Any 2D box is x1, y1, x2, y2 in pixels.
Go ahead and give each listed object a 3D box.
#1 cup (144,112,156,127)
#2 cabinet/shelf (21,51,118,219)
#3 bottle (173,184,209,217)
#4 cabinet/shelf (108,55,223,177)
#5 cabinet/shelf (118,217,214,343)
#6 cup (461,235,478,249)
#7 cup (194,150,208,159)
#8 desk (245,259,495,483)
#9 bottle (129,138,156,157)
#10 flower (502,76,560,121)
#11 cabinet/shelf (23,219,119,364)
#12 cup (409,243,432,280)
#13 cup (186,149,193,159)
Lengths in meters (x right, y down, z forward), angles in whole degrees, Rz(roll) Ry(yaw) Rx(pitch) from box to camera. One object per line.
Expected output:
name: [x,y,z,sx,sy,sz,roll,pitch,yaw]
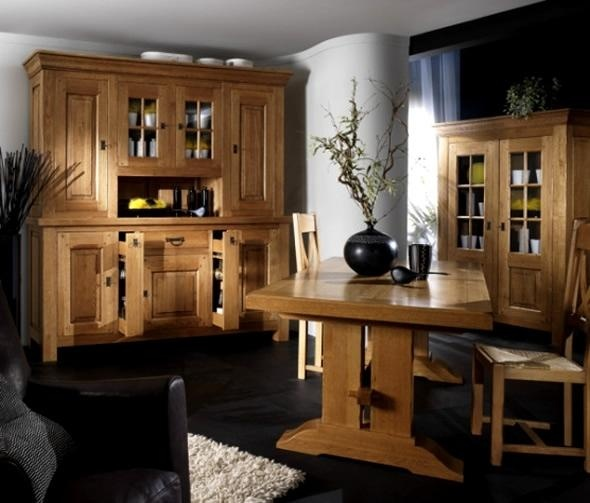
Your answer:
cup: [-1.211,-1.096,4.311,0.109,0.115,0.108,1,9,0]
cabinet/shelf: [-1.729,-0.861,4.224,0.584,1.302,0.382,0,1,-19]
bottle: [-0.966,-0.457,4.760,0.311,0.284,0.166,2,8,6]
cabinet/shelf: [-1.070,-1.175,4.469,0.935,0.999,0.402,2,41,-13]
cabinet/shelf: [-1.112,0.211,4.320,1.062,1.201,0.637,-1,3,-25]
cup: [1.804,-0.098,5.380,0.133,0.098,0.121,-1,1,0]
cup: [-0.816,-0.842,4.483,0.096,0.070,0.084,0,4,9]
desk: [0.539,0.541,3.072,1.109,0.833,1.757,3,8,16]
bottle: [-1.276,-0.861,4.319,0.226,0.161,0.068,-2,6,-19]
flower: [2.283,-1.491,4.954,0.437,0.493,0.671,3,6,27]
cabinet/shelf: [-1.815,0.314,4.303,0.714,1.066,0.590,-2,2,-32]
cup: [0.681,0.047,2.822,0.132,0.185,0.121,0,16,0]
cup: [-0.917,-0.836,4.460,0.073,0.075,0.078,-2,-4,0]
